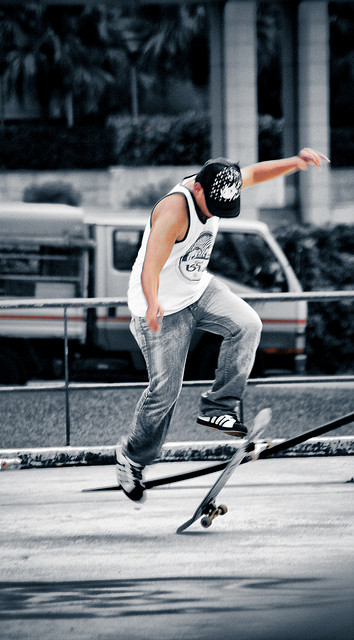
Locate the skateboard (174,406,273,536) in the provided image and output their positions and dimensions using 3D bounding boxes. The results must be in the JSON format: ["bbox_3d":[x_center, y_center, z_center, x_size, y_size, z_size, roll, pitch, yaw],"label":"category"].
[{"bbox_3d":[0.247,0.824,5.807,0.084,0.594,0.136,28,-7,31],"label":"skateboard"}]

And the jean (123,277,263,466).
[{"bbox_3d":[0.058,0.268,5.363,0.664,0.906,0.282,-4,9,-17],"label":"jean"}]

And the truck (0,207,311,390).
[{"bbox_3d":[-0.217,-0.197,10.352,2.543,1.609,1.551,0,0,-3],"label":"truck"}]

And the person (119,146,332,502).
[{"bbox_3d":[0.062,0.074,5.292,0.650,1.668,0.477,-6,10,-29],"label":"person"}]
